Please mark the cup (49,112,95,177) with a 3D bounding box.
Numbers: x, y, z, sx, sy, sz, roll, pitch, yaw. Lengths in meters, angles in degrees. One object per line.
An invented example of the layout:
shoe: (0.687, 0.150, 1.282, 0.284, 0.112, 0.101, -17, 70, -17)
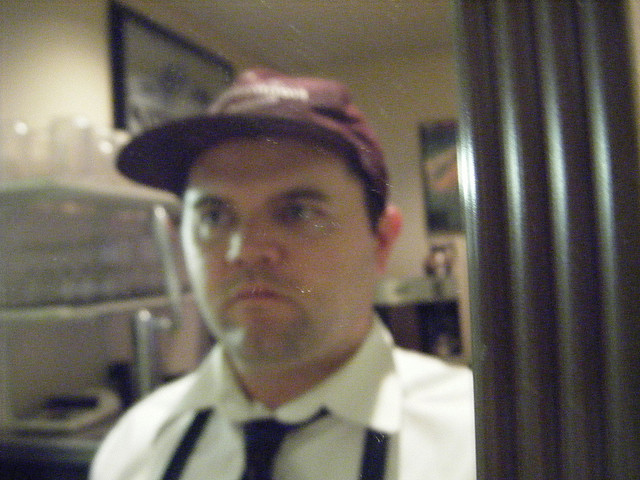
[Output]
cup: (-0.406, -0.154, 1.152, 0.090, 0.096, 0.032, 1, -2, 0)
